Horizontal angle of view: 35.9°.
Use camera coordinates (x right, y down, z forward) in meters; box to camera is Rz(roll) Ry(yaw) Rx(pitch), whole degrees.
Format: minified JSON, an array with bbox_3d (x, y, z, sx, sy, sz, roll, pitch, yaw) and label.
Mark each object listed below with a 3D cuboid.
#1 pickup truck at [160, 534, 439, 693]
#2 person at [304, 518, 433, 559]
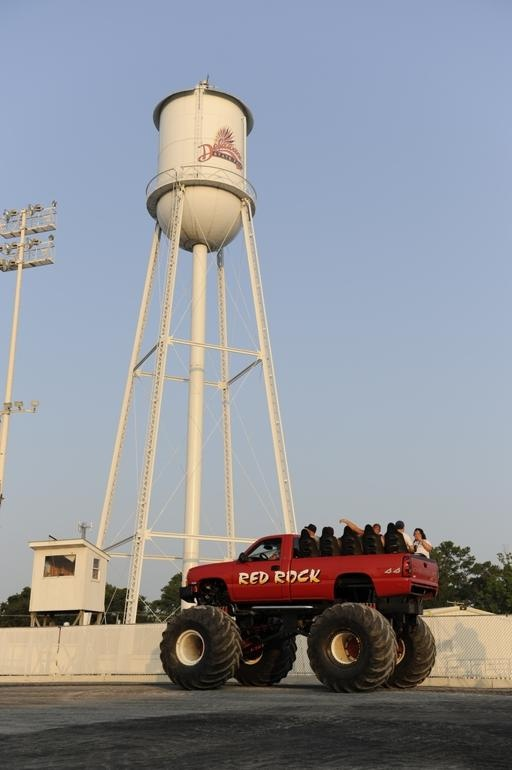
[{"bbox_3d":[0.823,4.226,14.943,5.017,2.914,3.155,-7,-20,28],"label":"pickup truck"},{"bbox_3d":[1.862,2.714,14.123,2.371,0.668,1.432,0,-17,7],"label":"person"}]
